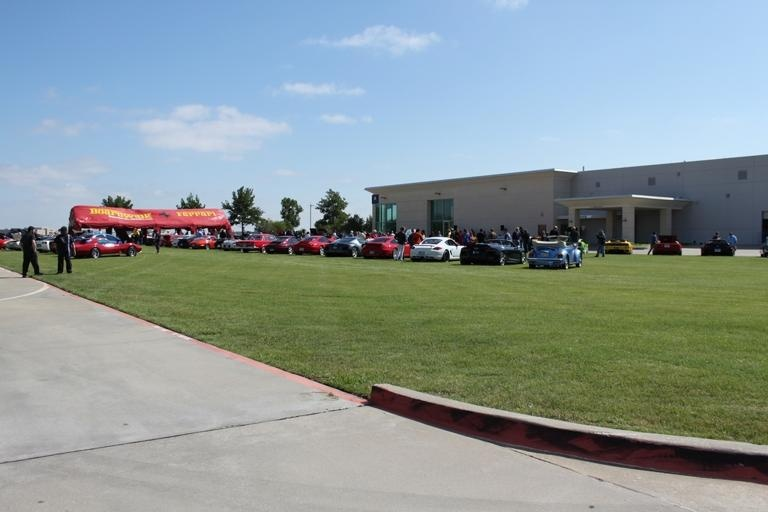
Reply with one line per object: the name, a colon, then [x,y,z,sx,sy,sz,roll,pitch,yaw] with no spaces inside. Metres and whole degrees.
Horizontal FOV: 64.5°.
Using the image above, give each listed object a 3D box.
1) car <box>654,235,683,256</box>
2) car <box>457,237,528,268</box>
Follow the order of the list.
car: [18.622,-0.709,39.505,1.521,0.899,2.349,2,6,38]
car: [5.112,-0.184,27.642,2.449,0.620,1.328,-6,8,-37]
